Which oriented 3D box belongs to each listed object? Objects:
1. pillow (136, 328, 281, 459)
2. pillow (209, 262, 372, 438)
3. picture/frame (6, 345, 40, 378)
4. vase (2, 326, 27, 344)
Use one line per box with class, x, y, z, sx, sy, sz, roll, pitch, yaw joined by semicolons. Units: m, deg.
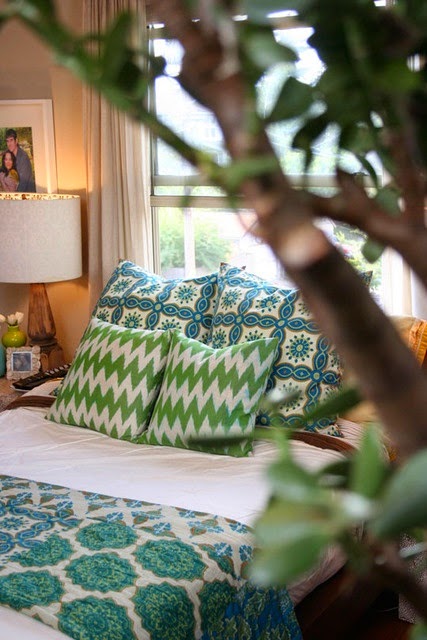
pillow;-0.026;0.289;1.981;0.579;0.461;0.298;1;-2;34
pillow;0.390;0.167;2.445;0.777;0.691;0.240;7;-10;37
picture/frame;-1.153;0.257;3.132;0.203;0.187;0.023;1;-5;-11
vase;-1.254;0.101;3.295;0.138;0.121;0.131;0;8;2
